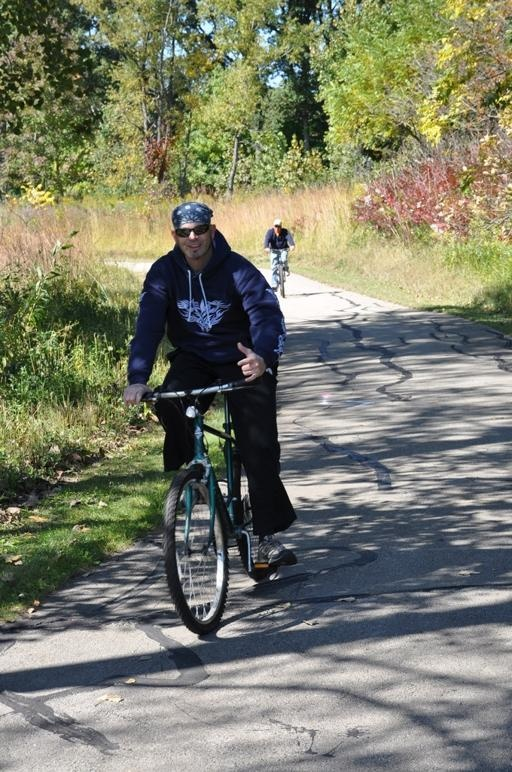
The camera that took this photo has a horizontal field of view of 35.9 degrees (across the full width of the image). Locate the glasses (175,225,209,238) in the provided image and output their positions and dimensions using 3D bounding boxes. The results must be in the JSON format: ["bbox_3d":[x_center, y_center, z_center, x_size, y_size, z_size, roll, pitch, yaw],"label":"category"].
[{"bbox_3d":[-0.297,-0.731,3.731,0.156,0.054,0.073,-5,4,-3],"label":"glasses"}]

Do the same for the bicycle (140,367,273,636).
[{"bbox_3d":[-0.186,0.522,3.539,0.429,1.078,1.008,-5,4,8],"label":"bicycle"}]

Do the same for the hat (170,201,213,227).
[{"bbox_3d":[-0.304,-0.820,3.760,0.179,0.138,0.202,-6,4,-4],"label":"hat"}]

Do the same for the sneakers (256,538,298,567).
[{"bbox_3d":[0.102,0.829,3.943,0.107,0.098,0.226,4,-12,-34],"label":"sneakers"}]
